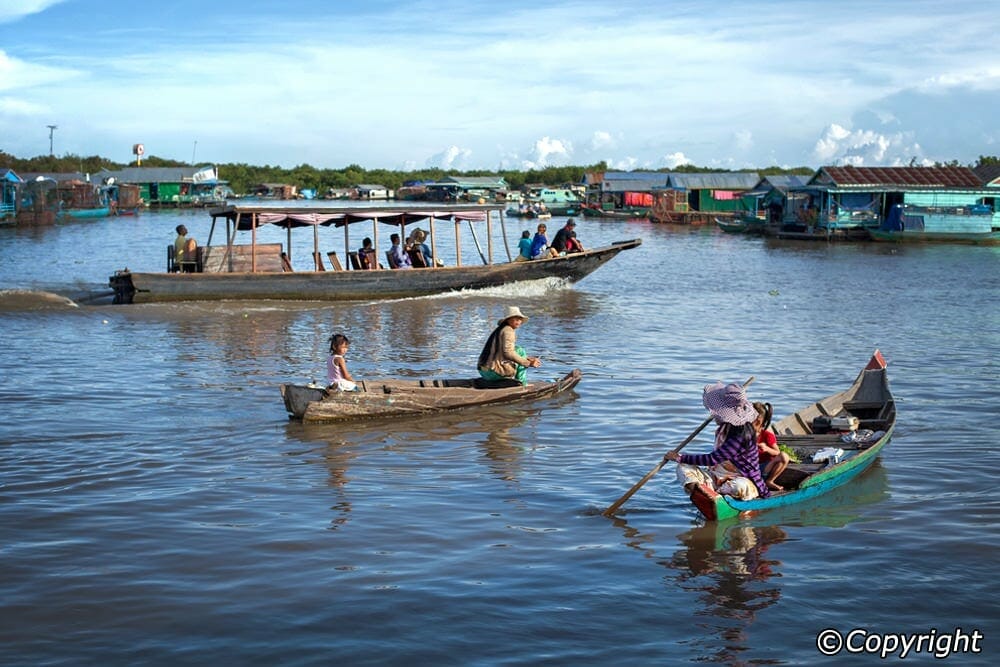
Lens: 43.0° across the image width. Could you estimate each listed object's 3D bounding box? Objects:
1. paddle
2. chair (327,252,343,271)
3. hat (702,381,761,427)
[{"bbox_3d":[2.518,1.666,17.867,3.203,0.141,0.214,-31,25,-7],"label":"paddle"},{"bbox_3d":[-4.151,-1.877,31.609,0.294,0.768,0.130,-3,-32,-11],"label":"chair"},{"bbox_3d":[3.009,0.928,16.686,0.706,0.518,0.390,3,8,22],"label":"hat"}]
